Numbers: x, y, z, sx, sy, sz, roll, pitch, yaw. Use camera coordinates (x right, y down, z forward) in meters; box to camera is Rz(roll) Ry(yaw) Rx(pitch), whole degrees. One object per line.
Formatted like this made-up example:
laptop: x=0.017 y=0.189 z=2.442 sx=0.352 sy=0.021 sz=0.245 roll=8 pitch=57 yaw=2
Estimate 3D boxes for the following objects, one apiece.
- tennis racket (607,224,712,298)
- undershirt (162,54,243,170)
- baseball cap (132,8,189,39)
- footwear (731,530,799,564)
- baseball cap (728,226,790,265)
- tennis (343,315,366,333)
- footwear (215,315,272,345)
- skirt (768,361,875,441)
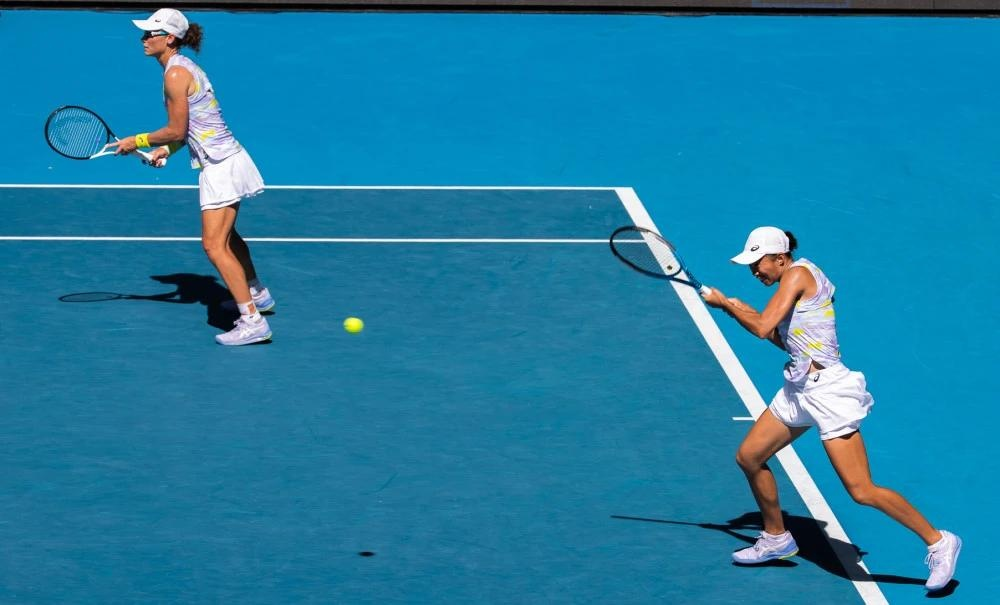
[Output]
tennis racket: x=1.754 y=-0.435 z=11.461 sx=1.604 sy=0.108 sz=0.650 roll=31 pitch=50 yaw=33
undershirt: x=-2.984 y=-1.889 z=10.348 sx=0.701 sy=1.107 sz=0.315 roll=12 pitch=22 yaw=15
baseball cap: x=-3.332 y=-2.755 z=10.206 sx=0.558 sy=0.221 sz=0.314 roll=5 pitch=18 yaw=-16
footwear: x=2.067 y=1.910 z=7.940 sx=0.614 sy=0.247 sz=0.206 roll=-5 pitch=3 yaw=-1
baseball cap: x=2.036 y=-0.436 z=7.904 sx=0.468 sy=0.201 sz=0.267 roll=-8 pitch=9 yaw=-11
tennis: x=-1.533 y=0.230 z=10.829 sx=0.214 sy=0.129 sz=0.267 roll=1 pitch=19 yaw=-10
footwear: x=-2.573 y=0.308 z=10.486 sx=0.701 sy=0.285 sz=0.233 roll=-1 pitch=10 yaw=-4
skirt: x=2.383 y=0.744 z=7.765 sx=0.910 sy=0.438 sz=0.606 roll=1 pitch=19 yaw=46
